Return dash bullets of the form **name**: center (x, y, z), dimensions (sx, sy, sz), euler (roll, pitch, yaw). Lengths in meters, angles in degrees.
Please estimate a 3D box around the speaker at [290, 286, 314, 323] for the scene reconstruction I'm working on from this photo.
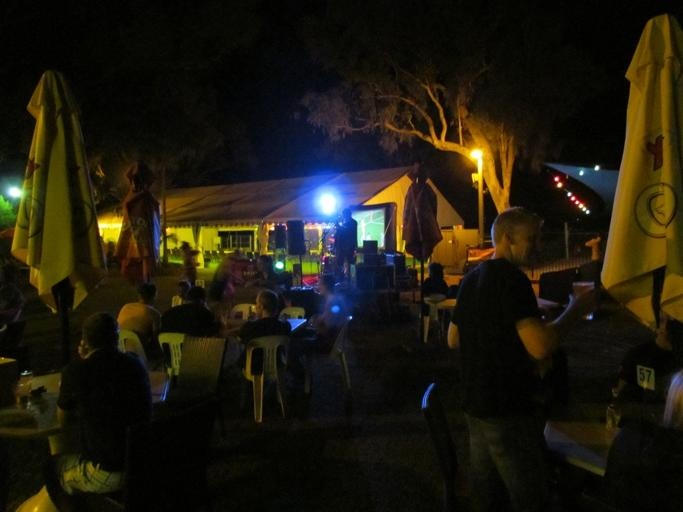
- **speaker**: center (-0.681, 0.840, 11.305), dimensions (0.389, 0.829, 0.430), euler (-1, 4, 11)

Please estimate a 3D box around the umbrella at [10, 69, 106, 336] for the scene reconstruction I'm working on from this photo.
- **umbrella**: center (-2.424, -0.560, 5.355), dimensions (0.707, 2.122, 0.528), euler (1, 6, 16)

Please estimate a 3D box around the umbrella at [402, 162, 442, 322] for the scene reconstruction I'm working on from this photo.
- **umbrella**: center (1.352, -0.656, 10.327), dimensions (0.607, 1.736, 0.834), euler (-3, 6, -17)

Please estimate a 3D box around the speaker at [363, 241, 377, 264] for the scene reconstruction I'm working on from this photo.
- **speaker**: center (0.614, -0.113, 13.087), dimensions (0.294, 0.451, 0.481), euler (-1, 7, 0)

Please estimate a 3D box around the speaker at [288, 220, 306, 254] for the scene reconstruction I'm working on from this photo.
- **speaker**: center (-1.242, -0.518, 16.989), dimensions (0.430, 0.926, 0.450), euler (-2, 6, -10)

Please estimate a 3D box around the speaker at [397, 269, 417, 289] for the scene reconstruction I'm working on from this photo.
- **speaker**: center (1.384, 0.493, 13.487), dimensions (0.400, 0.540, 0.377), euler (1, 1, 25)

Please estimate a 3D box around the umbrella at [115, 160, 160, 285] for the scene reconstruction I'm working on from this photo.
- **umbrella**: center (-2.523, -0.382, 7.702), dimensions (0.518, 1.581, 0.645), euler (-2, 6, -11)

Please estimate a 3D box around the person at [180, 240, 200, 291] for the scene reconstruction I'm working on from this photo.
- **person**: center (-3.029, 0.069, 12.696), dimensions (0.312, 1.181, 0.385), euler (-14, -13, 30)

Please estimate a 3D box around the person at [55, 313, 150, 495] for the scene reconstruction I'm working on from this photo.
- **person**: center (-1.906, 1.173, 4.913), dimensions (0.749, 1.358, 0.367), euler (-1, 6, 2)

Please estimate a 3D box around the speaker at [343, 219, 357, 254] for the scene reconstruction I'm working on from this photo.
- **speaker**: center (0.225, -0.474, 14.522), dimensions (0.313, 0.845, 0.286), euler (0, 6, 10)

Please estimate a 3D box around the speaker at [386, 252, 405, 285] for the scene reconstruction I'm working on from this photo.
- **speaker**: center (1.217, 0.283, 13.560), dimensions (0.213, 0.700, 0.697), euler (-11, 0, 6)

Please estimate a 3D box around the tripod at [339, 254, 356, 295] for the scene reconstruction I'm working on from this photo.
- **tripod**: center (0.246, 0.411, 14.063), dimensions (0.528, 0.834, 1.068), euler (0, -4, -6)

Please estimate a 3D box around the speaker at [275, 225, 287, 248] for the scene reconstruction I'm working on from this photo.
- **speaker**: center (-2.049, -0.658, 20.907), dimensions (0.333, 0.776, 0.377), euler (-2, 6, -6)
